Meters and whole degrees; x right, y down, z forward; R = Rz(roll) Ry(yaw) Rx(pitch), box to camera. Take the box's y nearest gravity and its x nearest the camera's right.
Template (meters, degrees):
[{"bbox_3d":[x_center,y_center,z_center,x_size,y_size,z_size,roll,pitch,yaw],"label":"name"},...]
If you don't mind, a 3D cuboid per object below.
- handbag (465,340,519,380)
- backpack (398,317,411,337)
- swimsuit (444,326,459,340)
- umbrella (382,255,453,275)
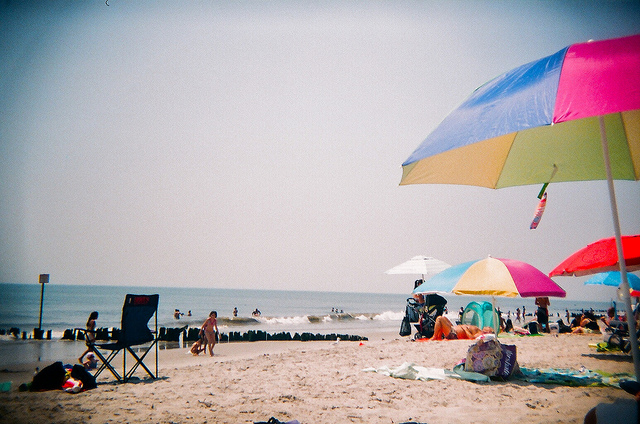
[{"bbox_3d":[3.811,3.273,12.622,0.859,0.882,0.338,6,-15,9],"label":"handbag"},{"bbox_3d":[2.978,3.975,19.758,0.372,0.558,1.001,-2,-11,6],"label":"backpack"},{"bbox_3d":[3.968,3.656,17.286,0.341,0.381,0.357,-11,-9,23],"label":"swimsuit"},{"bbox_3d":[3.161,1.710,17.439,1.680,0.855,1.748,0,-4,30],"label":"umbrella"}]
